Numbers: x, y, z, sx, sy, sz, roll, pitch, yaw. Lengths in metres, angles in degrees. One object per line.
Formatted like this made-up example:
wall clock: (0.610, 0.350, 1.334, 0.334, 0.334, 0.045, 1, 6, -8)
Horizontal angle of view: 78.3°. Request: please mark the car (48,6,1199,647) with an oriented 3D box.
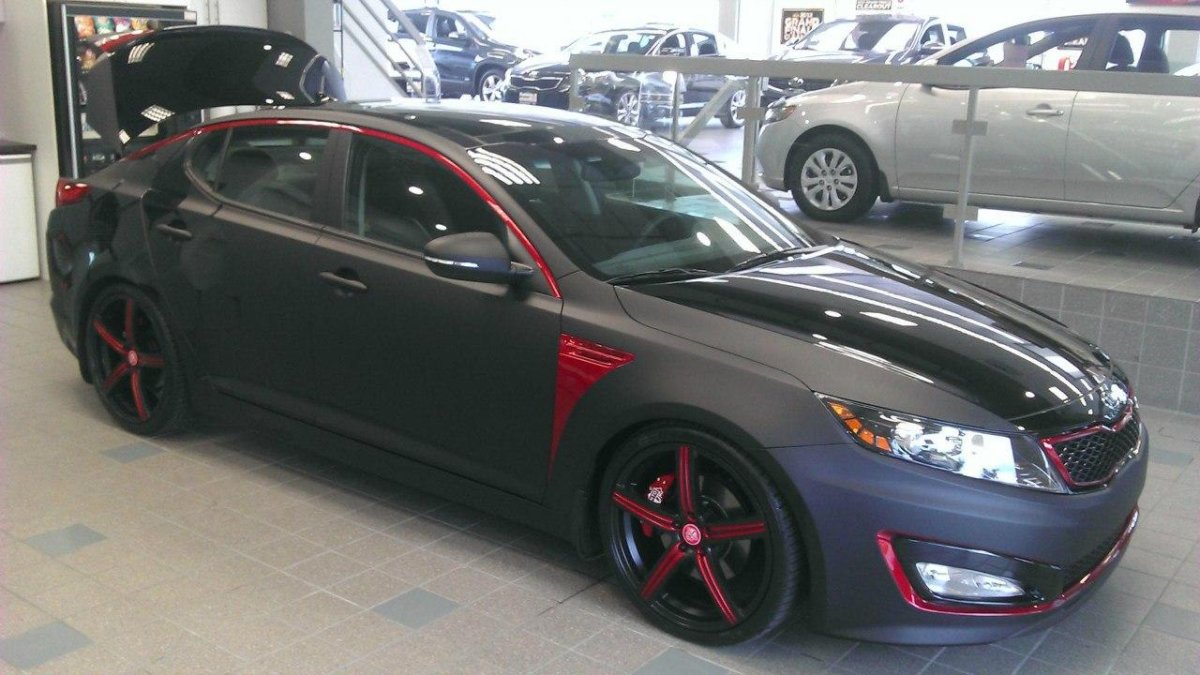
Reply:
car: (-0.581, -0.474, 4.673, 6.549, 2.221, 2.831, 11, 21, 25)
